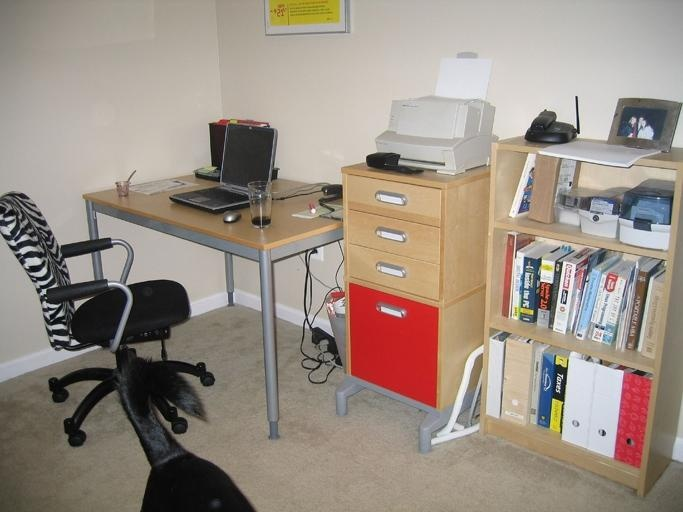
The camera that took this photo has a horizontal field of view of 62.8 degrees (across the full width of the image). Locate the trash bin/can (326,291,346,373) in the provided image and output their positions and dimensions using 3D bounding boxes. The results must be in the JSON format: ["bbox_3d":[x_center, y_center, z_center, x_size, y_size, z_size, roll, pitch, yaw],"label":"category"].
[{"bbox_3d":[-0.024,0.418,2.864,0.107,0.110,0.347,-2,58,-13],"label":"trash bin/can"}]

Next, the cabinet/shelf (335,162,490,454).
[{"bbox_3d":[0.379,0.178,2.702,0.619,1.145,0.795,12,16,43],"label":"cabinet/shelf"}]

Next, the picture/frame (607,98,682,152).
[{"bbox_3d":[1.158,-0.493,2.122,0.196,0.168,0.021,21,10,39],"label":"picture/frame"}]

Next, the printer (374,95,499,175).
[{"bbox_3d":[0.418,-0.552,2.524,0.436,0.304,0.346,14,24,38],"label":"printer"}]

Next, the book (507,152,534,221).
[{"bbox_3d":[0.764,-0.296,2.390,0.034,0.301,0.226,23,28,31],"label":"book"}]

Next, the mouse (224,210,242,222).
[{"bbox_3d":[-0.509,-0.182,2.620,0.083,0.048,0.058,-7,22,-21],"label":"mouse"}]

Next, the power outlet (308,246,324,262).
[{"bbox_3d":[-0.143,-0.015,3.224,0.075,0.077,0.008,11,17,34],"label":"power outlet"}]

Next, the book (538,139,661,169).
[{"bbox_3d":[0.971,-0.388,2.101,0.277,0.040,0.349,-16,27,-40],"label":"book"}]

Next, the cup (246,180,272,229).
[{"bbox_3d":[-0.377,-0.247,2.597,0.094,0.183,0.222,-2,20,-9],"label":"cup"}]

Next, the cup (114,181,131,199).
[{"bbox_3d":[-1.216,-0.365,3.099,0.088,0.095,0.100,3,6,12],"label":"cup"}]

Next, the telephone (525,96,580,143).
[{"bbox_3d":[0.844,-0.529,2.311,0.208,0.215,0.191,12,33,31],"label":"telephone"}]

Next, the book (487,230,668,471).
[{"bbox_3d":[0.985,0.375,2.281,0.785,1.060,0.335,11,16,34],"label":"book"}]

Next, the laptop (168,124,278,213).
[{"bbox_3d":[-0.631,-0.476,2.947,0.482,0.398,0.551,-8,19,-24],"label":"laptop"}]
